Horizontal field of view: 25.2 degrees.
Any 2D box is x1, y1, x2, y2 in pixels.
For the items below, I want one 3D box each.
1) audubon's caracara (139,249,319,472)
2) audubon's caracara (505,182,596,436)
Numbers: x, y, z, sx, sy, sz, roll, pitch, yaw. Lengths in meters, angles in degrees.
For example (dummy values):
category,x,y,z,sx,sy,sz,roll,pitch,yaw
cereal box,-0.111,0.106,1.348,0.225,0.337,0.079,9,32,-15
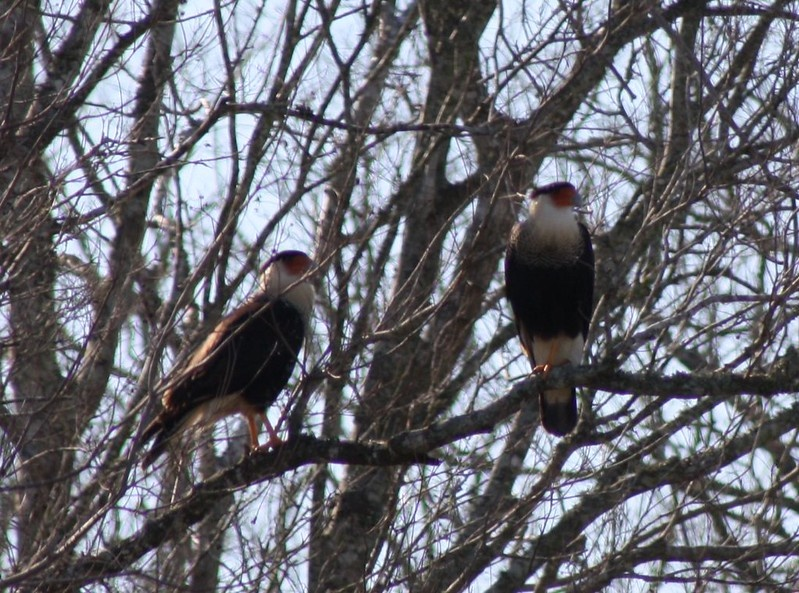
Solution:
category,x,y,z,sx,sy,sz,roll,pitch,yaw
audubon's caracara,-1.255,0.414,13.176,1.124,1.804,0.733,6,-14,-9
audubon's caracara,1.130,-0.112,13.725,0.781,2.122,1.084,0,3,9
